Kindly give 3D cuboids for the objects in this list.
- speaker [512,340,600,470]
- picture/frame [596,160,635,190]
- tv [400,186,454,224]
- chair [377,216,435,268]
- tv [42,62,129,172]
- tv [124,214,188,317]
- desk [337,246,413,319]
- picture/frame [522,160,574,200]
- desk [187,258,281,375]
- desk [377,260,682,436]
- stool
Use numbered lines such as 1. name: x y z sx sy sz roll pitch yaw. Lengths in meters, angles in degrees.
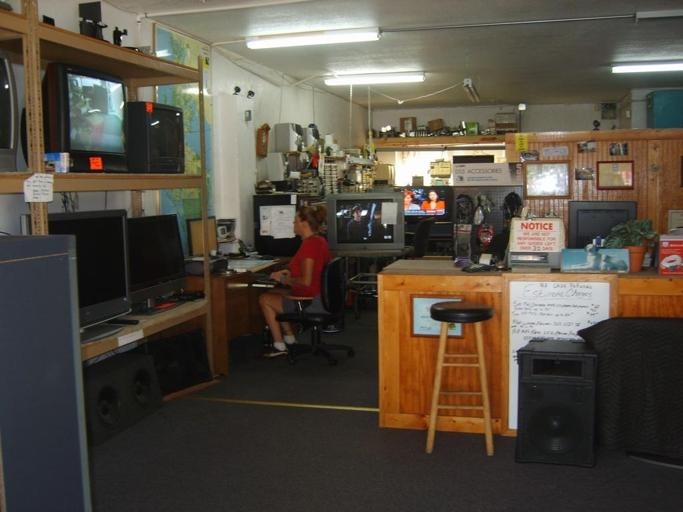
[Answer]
1. speaker: 1.366 0.932 3.769 0.689 0.870 0.737 0 2 17
2. picture/frame: 3.140 -0.929 6.521 0.386 0.281 0.039 0 2 5
3. tv: 1.634 -0.919 10.619 1.076 0.609 0.103 0 0 5
4. chair: 0.948 -0.177 8.344 0.712 0.675 0.667 2 5 11
5. tv: -1.759 -0.936 3.985 0.168 0.708 0.674 2 10 20
6. tv: -1.508 0.096 4.584 0.294 0.732 0.846 -1 6 15
7. desk: 0.380 0.403 7.803 1.199 0.971 0.899 0 2 10
8. picture/frame: 2.420 -0.877 6.608 0.546 0.397 0.040 0 3 9
9. desk: -1.066 0.599 5.621 0.391 0.598 1.114 -1 7 5
10. desk: 1.348 0.623 3.867 1.457 0.684 0.440 0 4 13
11. stool: 0.826 0.812 3.957 0.461 0.987 0.489 0 10 11
